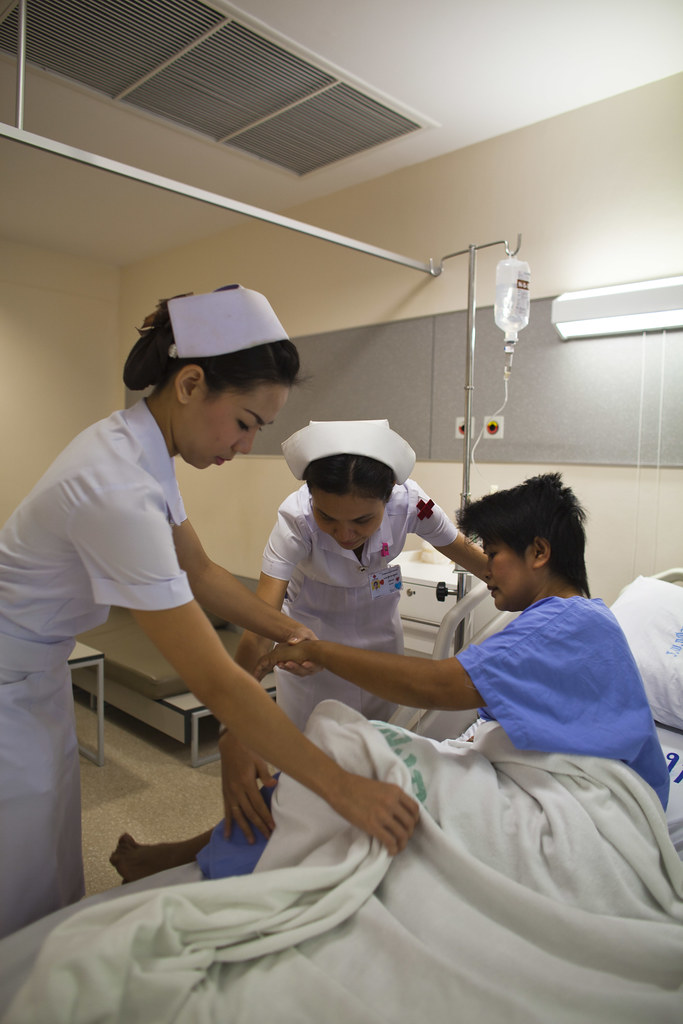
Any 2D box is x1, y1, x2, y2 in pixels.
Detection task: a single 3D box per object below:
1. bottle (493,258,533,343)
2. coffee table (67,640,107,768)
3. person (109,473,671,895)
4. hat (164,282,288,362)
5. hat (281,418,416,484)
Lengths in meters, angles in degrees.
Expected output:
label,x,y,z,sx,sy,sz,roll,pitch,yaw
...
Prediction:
label,x,y,z,sx,sy,sz,roll,pitch,yaw
bottle,0.582,-0.729,2.551,0.112,0.313,0.282,5,6,11
coffee table,-1.050,0.771,3.076,0.182,0.347,0.495,-10,-7,-17
person,0.042,0.274,1.478,0.909,0.646,0.555,-7,-4,0
hat,-0.171,-0.280,1.103,0.171,0.112,0.060,3,6,-8
hat,0.011,-0.141,1.673,0.304,0.152,0.319,-1,17,-12
